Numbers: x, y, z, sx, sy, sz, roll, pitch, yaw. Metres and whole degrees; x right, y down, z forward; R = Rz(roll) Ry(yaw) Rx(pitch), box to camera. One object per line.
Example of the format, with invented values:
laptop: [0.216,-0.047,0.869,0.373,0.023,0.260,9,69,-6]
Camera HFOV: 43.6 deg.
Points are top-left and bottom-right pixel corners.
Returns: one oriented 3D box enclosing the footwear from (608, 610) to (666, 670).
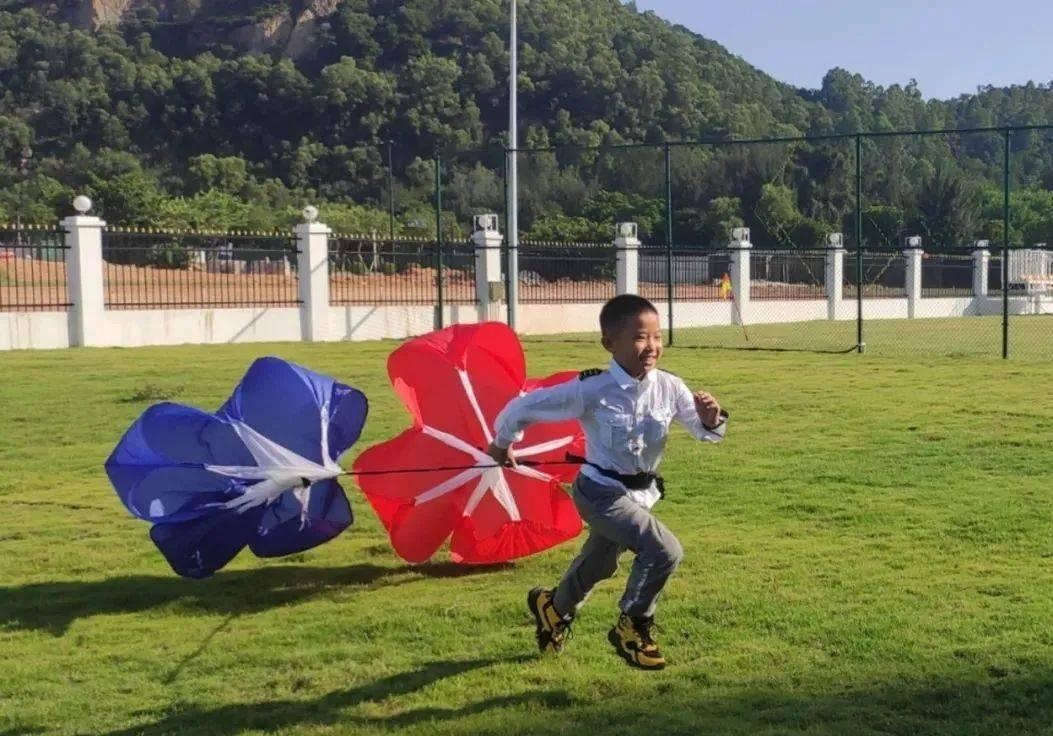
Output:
footwear: [0.743,1.862,8.888,0.427,0.307,0.155,33,33,19]

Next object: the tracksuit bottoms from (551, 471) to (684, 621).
tracksuit bottoms: [0.607,1.224,8.931,0.871,1.007,0.274,0,4,30]

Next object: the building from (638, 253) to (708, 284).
building: [4.170,-2.719,36.467,1.728,0.817,10.762,-1,4,8]

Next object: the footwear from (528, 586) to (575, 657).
footwear: [0.198,1.753,9.229,0.264,0.593,0.195,-12,-2,24]
